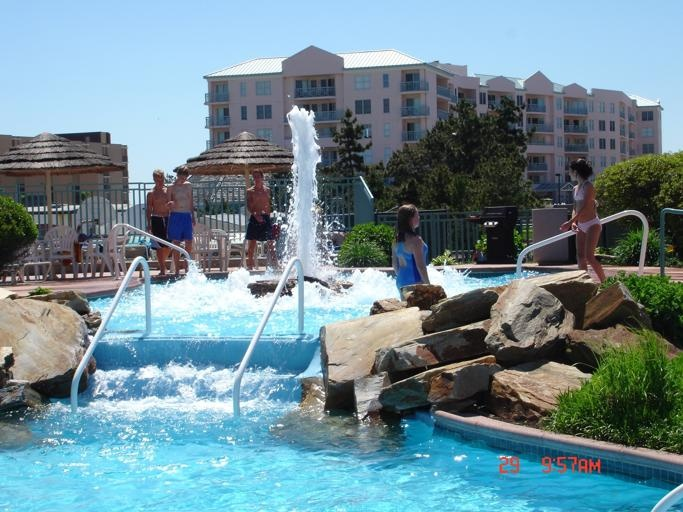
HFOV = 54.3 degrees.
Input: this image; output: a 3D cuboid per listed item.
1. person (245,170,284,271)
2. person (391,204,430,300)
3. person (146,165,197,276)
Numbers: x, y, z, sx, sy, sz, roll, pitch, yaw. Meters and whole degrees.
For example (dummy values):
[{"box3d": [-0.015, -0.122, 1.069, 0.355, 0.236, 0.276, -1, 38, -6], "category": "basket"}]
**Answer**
[{"box3d": [-1.699, -0.713, 14.395, 0.659, 2.213, 1.528, -2, 7, -8], "category": "person"}, {"box3d": [0.862, -0.105, 8.296, 0.461, 1.042, 0.299, 1, 7, 14], "category": "person"}, {"box3d": [-3.662, -0.738, 14.489, 0.971, 2.403, 1.488, -2, 7, -15], "category": "person"}]
